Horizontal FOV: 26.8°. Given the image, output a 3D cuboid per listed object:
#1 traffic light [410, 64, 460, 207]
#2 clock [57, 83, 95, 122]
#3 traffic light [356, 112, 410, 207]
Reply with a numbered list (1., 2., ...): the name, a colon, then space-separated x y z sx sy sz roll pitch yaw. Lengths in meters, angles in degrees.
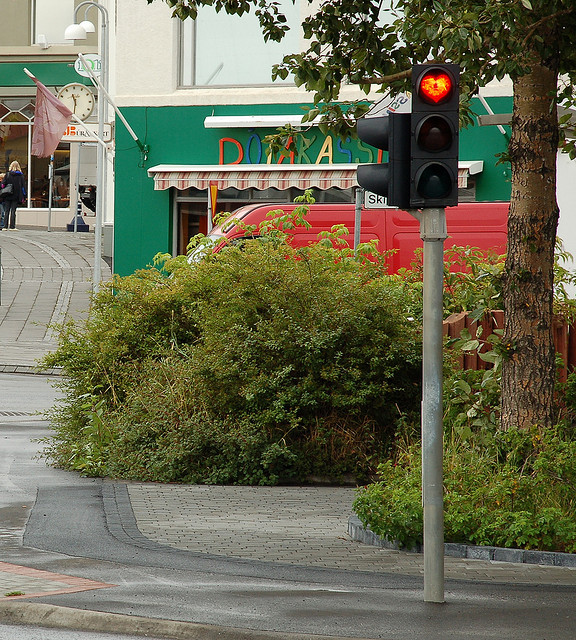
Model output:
1. traffic light: 0.778 -0.999 6.526 0.257 0.768 0.133 0 4 2
2. clock: -4.863 -5.070 27.844 0.777 0.896 0.922 -1 4 -12
3. traffic light: 0.514 -0.892 6.724 0.212 0.525 0.435 -1 4 -16
